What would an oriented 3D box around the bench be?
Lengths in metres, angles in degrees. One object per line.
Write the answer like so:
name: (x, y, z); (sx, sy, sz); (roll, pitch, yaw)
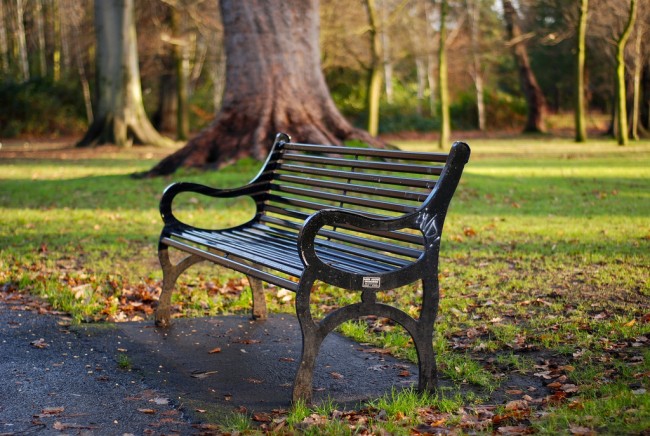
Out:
bench: (-0.168, 0.521, 11.986); (3.467, 3.147, 1.839); (8, 10, 38)
